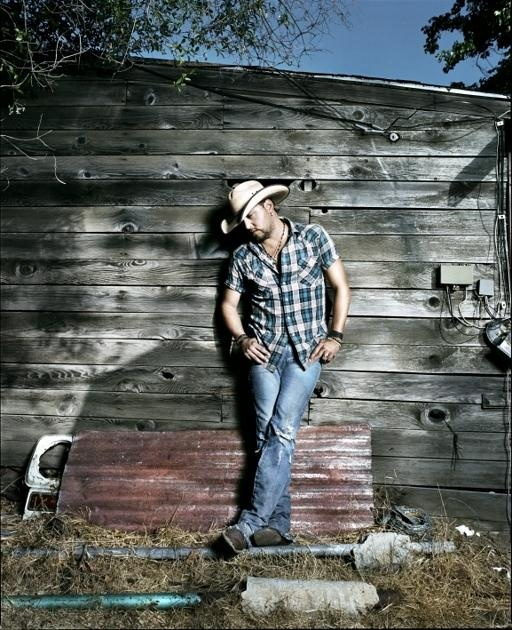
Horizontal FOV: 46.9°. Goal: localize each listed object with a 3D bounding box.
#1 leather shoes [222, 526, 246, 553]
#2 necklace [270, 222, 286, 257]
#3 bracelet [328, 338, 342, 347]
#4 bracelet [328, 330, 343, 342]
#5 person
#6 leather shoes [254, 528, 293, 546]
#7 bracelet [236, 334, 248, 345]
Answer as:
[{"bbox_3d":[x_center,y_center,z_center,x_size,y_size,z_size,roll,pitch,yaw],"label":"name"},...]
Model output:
[{"bbox_3d":[-0.108,1.216,3.190,0.073,0.075,0.161,-10,-23,12],"label":"leather shoes"},{"bbox_3d":[0.153,-0.466,3.702,0.034,0.165,0.120,26,-8,-3],"label":"necklace"},{"bbox_3d":[0.482,0.168,3.609,0.065,0.014,0.048,12,2,28],"label":"bracelet"},{"bbox_3d":[0.494,0.128,3.651,0.072,0.038,0.081,11,-12,-8],"label":"bracelet"},{"bbox_3d":[0.113,0.260,3.645,0.834,2.061,1.396,6,20,-4],"label":"person"},{"bbox_3d":[0.098,1.271,3.368,0.307,0.083,0.114,14,0,-32],"label":"leather shoes"},{"bbox_3d":[-0.093,0.144,3.735,0.082,0.050,0.028,-10,-45,35],"label":"bracelet"}]
